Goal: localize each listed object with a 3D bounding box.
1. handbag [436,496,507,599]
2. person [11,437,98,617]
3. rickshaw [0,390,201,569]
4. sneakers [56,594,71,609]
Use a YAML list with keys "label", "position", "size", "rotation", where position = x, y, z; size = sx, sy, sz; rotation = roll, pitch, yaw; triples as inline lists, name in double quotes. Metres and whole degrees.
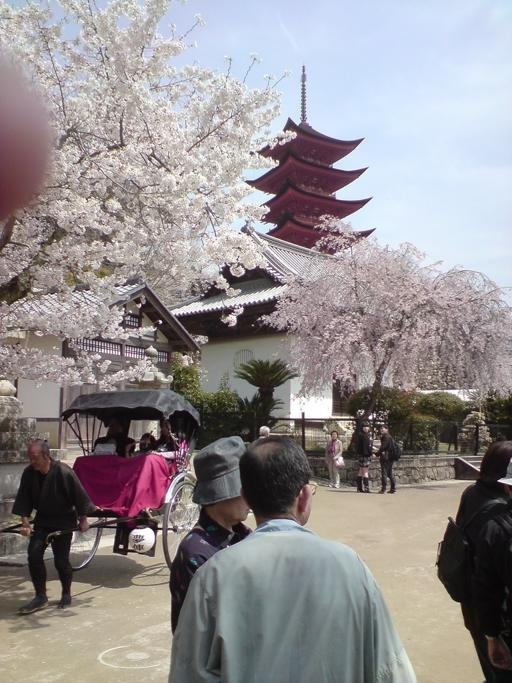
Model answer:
- label: "handbag"
  position: [1.110, 1.100, 3.154]
  size: [0.262, 0.546, 0.454]
  rotation: [4, -9, -24]
- label: "person"
  position: [-1.920, 1.713, 5.712]
  size: [0.708, 1.525, 0.477]
  rotation: [4, -9, -22]
- label: "rickshaw"
  position: [-1.905, 1.765, 8.058]
  size: [2.011, 2.474, 2.899]
  rotation: [-6, -18, 21]
- label: "sneakers"
  position: [-1.764, 2.418, 5.578]
  size: [0.114, 0.097, 0.157]
  rotation: [3, -9, -19]
